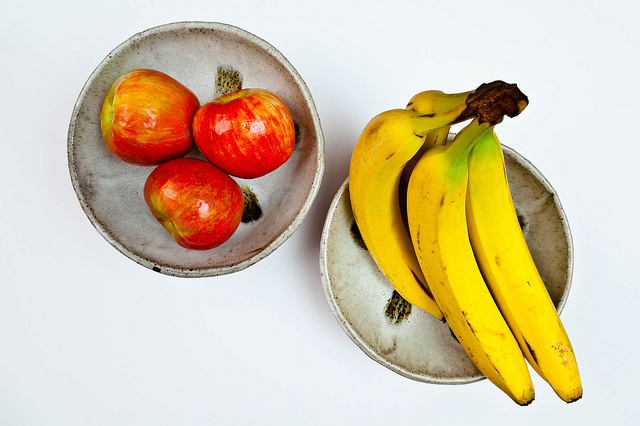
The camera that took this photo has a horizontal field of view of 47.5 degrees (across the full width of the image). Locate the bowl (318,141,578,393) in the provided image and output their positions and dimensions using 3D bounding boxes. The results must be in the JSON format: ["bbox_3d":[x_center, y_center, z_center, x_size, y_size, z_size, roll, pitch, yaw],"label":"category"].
[{"bbox_3d":[0.304,0.093,1.793,0.700,0.687,0.235,44,-59,28],"label":"bowl"}]

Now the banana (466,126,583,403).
[{"bbox_3d":[0.418,0.133,1.525,0.115,0.211,0.630,-15,-88,-7],"label":"banana"}]

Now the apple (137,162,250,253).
[{"bbox_3d":[-0.279,-0.023,1.573,0.209,0.192,0.172,23,-48,10],"label":"apple"}]

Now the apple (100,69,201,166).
[{"bbox_3d":[-0.353,-0.198,1.498,0.180,0.192,0.190,-5,-93,-18],"label":"apple"}]

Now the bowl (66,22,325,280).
[{"bbox_3d":[-0.277,-0.088,1.652,0.524,0.283,0.565,0,-85,-6],"label":"bowl"}]

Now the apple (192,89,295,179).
[{"bbox_3d":[-0.151,-0.184,1.583,0.204,0.212,0.204,18,-76,0],"label":"apple"}]

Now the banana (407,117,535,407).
[{"bbox_3d":[0.298,0.099,1.560,0.179,0.234,0.715,-6,-76,43],"label":"banana"}]

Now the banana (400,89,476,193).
[{"bbox_3d":[0.235,-0.138,1.433,0.042,0.057,0.211,25,-94,6],"label":"banana"}]
